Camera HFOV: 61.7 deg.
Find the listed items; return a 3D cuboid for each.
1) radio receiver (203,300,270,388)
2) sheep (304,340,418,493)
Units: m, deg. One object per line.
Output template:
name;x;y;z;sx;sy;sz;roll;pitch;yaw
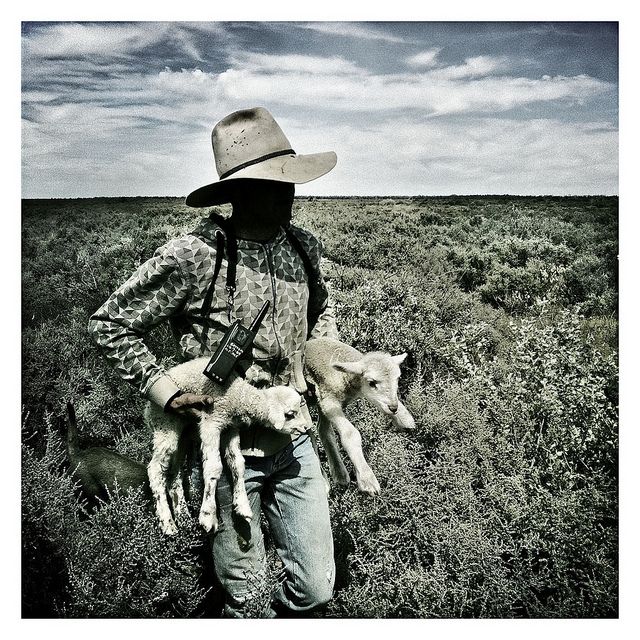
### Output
radio receiver;-0.518;0.152;3.471;0.462;0.495;0.119;-8;15;-37
sheep;0.239;0.708;4.262;0.744;1.388;0.872;2;15;-11
